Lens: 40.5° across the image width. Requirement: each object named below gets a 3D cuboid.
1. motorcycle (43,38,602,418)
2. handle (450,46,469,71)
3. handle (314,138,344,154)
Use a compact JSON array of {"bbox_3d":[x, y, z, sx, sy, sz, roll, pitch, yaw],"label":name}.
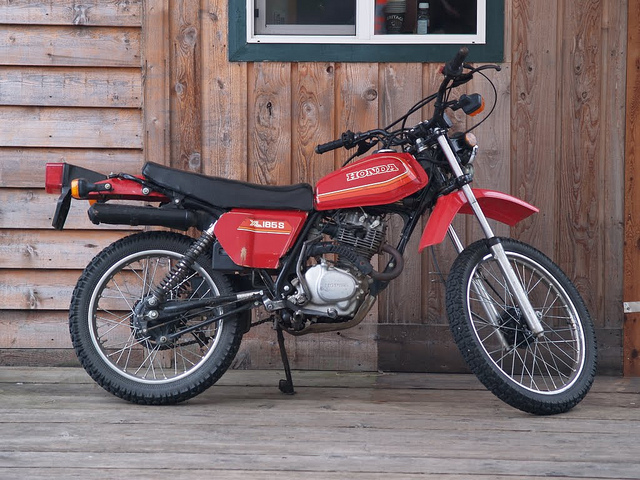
[{"bbox_3d":[0.090,0.005,4.356,2.787,1.798,0.892,1,-7,-4],"label":"motorcycle"},{"bbox_3d":[0.657,-0.868,4.167,0.045,0.044,0.162,30,-30,1],"label":"handle"},{"bbox_3d":[0.050,-0.477,4.355,0.188,0.058,0.056,-13,-1,12],"label":"handle"}]
